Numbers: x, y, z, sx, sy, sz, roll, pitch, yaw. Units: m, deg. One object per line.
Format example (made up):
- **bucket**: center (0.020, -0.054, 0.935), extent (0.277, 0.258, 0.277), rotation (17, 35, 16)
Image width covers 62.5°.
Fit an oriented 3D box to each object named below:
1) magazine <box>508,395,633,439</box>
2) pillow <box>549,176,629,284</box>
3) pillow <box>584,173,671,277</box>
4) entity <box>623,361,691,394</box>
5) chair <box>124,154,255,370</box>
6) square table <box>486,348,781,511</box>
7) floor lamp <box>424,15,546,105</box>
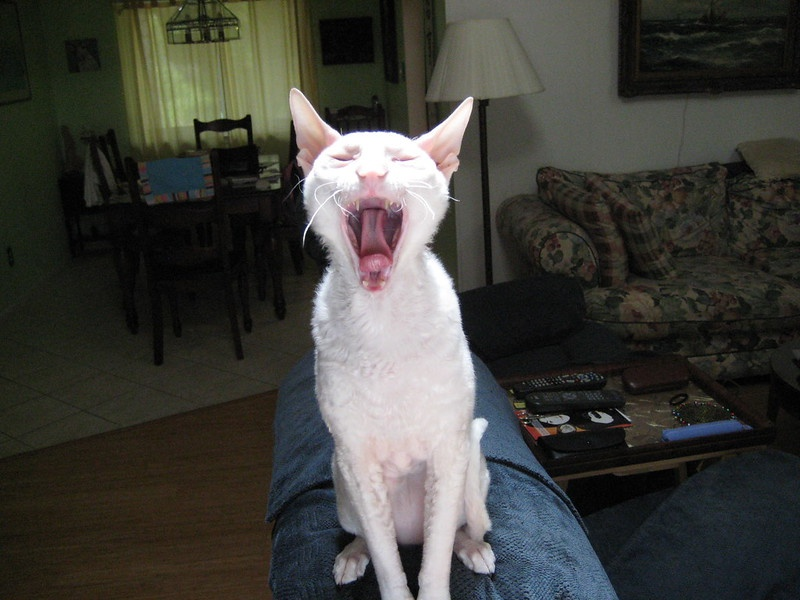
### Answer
- **magazine**: center (0.548, 0.375, 2.126), extent (0.179, 0.039, 0.155), rotation (-5, 23, -9)
- **pillow**: center (1.006, -0.313, 3.325), extent (0.148, 0.471, 0.466), rotation (-26, 27, -8)
- **pillow**: center (1.187, -0.343, 3.381), extent (0.207, 0.507, 0.502), rotation (-38, 26, -9)
- **entity**: center (0.905, 0.259, 2.299), extent (0.199, 0.044, 0.109), rotation (-9, 23, -17)
- **chair**: center (-1.488, -0.427, 4.542), extent (0.715, 1.297, 1.610), rotation (-12, 24, -18)
- **square table**: center (0.827, 0.374, 2.168), extent (0.748, 0.277, 0.516), rotation (-11, 33, -18)
- **floor lamp**: center (0.421, -1.190, 3.294), extent (0.601, 0.394, 0.325), rotation (-3, 23, 3)
